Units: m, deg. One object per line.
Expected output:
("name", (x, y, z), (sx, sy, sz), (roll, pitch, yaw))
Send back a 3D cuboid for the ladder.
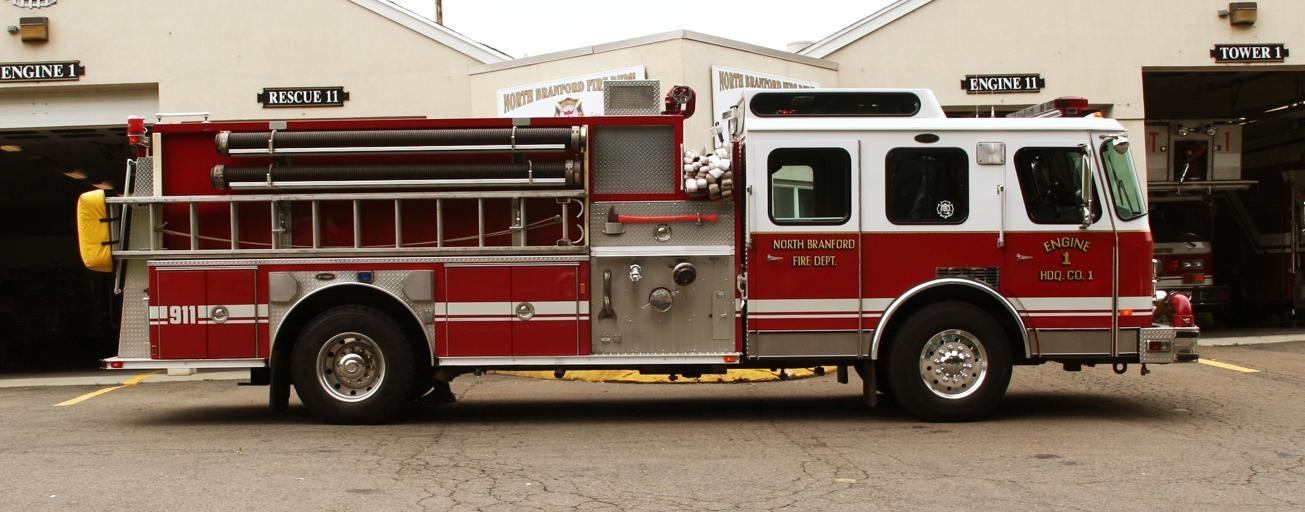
("ladder", (-7.735, -0.810, 32.296), (13.732, 1.678, 1.698), (-2, -1, 0))
